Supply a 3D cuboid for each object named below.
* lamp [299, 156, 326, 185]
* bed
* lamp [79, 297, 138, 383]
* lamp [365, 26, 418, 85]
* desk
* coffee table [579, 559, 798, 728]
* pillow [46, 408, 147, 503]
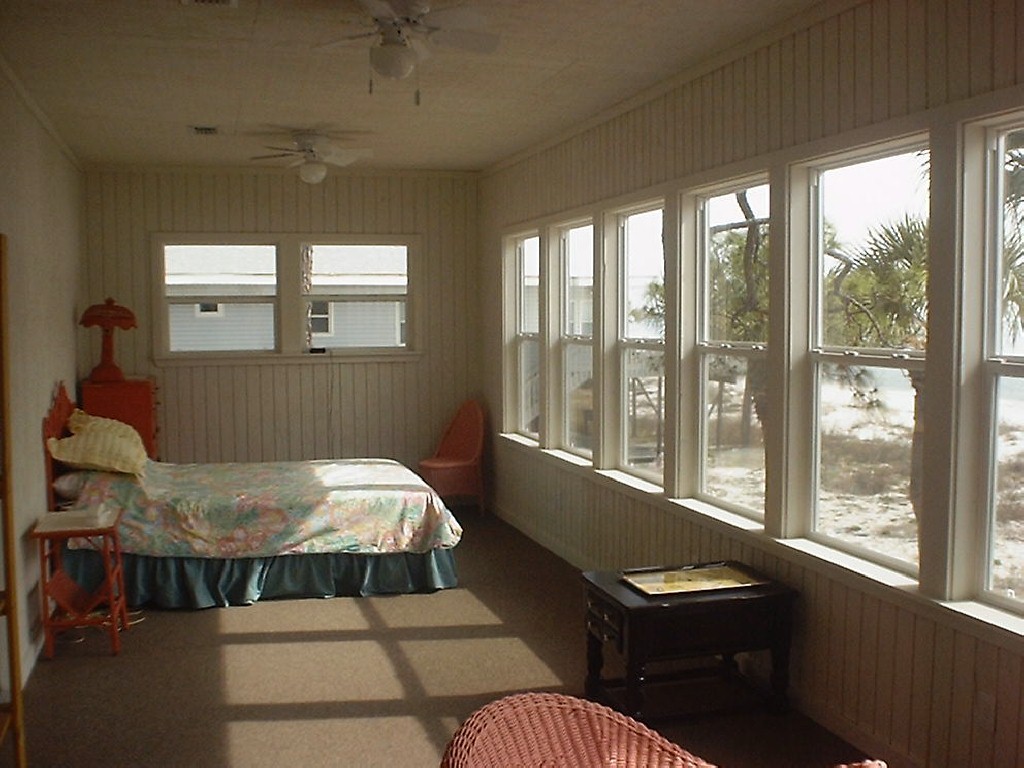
[{"bbox_3d":[-1.391,-1.511,5.807,0.149,0.170,0.242,-1,8,-5],"label":"lamp"},{"bbox_3d":[-1.893,0.802,6.073,2.266,1.371,1.533,-2,7,-19],"label":"bed"},{"bbox_3d":[-3.472,-0.384,7.150,0.393,0.714,0.707,-4,9,-27],"label":"lamp"},{"bbox_3d":[-0.560,-1.573,4.057,0.291,0.339,0.298,-1,5,-1],"label":"lamp"},{"bbox_3d":[-2.646,1.160,5.153,0.561,0.857,0.893,-4,9,-26],"label":"desk"},{"bbox_3d":[0.897,1.301,4.370,0.946,0.704,0.693,0,-1,-12],"label":"coffee table"},{"bbox_3d":[-2.866,0.455,5.769,0.558,0.364,0.595,-3,8,-20],"label":"pillow"}]
